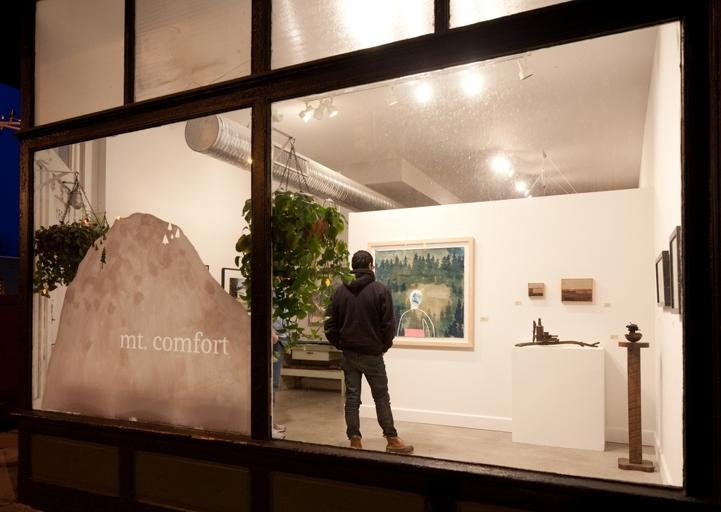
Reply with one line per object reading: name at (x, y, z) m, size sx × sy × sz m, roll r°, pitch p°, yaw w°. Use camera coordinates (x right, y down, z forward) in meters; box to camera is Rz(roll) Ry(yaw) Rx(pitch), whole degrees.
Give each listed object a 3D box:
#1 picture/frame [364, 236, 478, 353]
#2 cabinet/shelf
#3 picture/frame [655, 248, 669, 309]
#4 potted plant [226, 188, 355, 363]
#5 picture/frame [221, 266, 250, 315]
picture/frame at (0.773, 0.483, 7.123) m, size 1.325 × 1.403 × 0.054 m, roll -2°, pitch -4°, yaw 30°
cabinet/shelf at (-0.708, 1.706, 9.605) m, size 1.104 × 0.748 × 0.528 m, roll -1°, pitch -2°, yaw 20°
picture/frame at (2.525, 0.207, 5.092) m, size 0.058 × 0.434 × 0.594 m, roll -3°, pitch -4°, yaw 21°
potted plant at (-0.433, 0.170, 4.710) m, size 1.061 × 1.429 × 0.989 m, roll 1°, pitch -2°, yaw -2°
picture/frame at (-0.874, 0.237, 4.296) m, size 0.308 × 0.385 × 0.037 m, roll 3°, pitch 7°, yaw 33°
